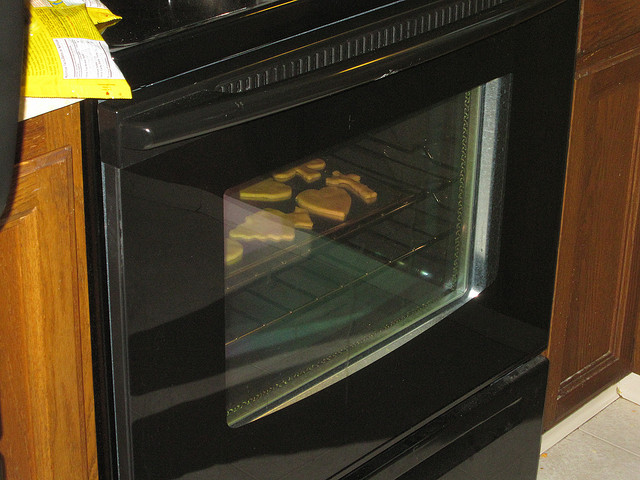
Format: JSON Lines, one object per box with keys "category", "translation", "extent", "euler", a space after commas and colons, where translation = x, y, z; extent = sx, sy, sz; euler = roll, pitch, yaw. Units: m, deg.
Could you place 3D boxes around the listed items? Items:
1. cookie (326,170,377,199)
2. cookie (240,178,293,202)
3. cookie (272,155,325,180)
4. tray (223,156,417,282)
{"category": "cookie", "translation": [0.045, -0.073, 0.880], "extent": [0.048, 0.006, 0.036], "euler": [31, 32, 4]}
{"category": "cookie", "translation": [-0.063, -0.058, 0.799], "extent": [0.035, 0.007, 0.036], "euler": [15, 29, 32]}
{"category": "cookie", "translation": [-0.025, -0.087, 0.814], "extent": [0.034, 0.004, 0.039], "euler": [23, 39, 39]}
{"category": "tray", "translation": [-0.036, -0.051, 0.891], "extent": [0.254, 0.154, 0.197], "euler": [-22, 37, -37]}
